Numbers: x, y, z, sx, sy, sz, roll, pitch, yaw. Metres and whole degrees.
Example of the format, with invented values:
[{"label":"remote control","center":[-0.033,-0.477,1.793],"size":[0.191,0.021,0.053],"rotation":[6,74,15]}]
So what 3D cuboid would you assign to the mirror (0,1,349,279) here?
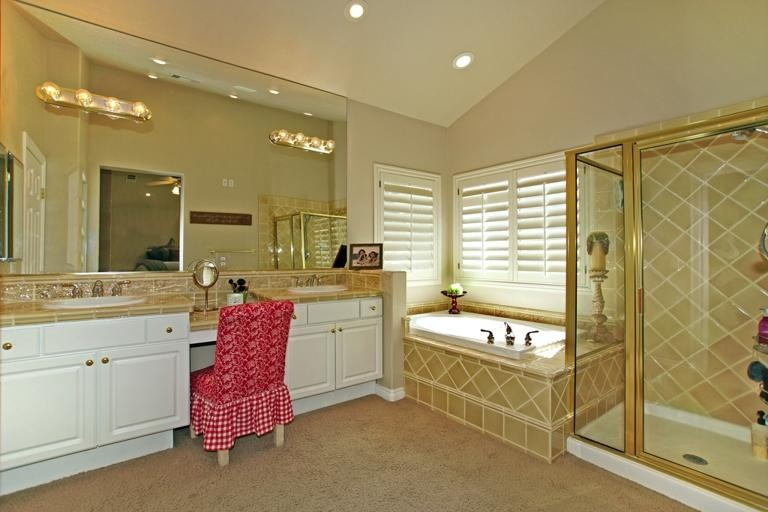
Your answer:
[{"label":"mirror","center":[-1.998,-1.088,4.567],"size":[2.484,1.677,0.037],"rotation":[0,-2,-35]}]

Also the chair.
[{"label":"chair","center":[-1.185,1.033,4.223],"size":[0.838,1.305,0.382],"rotation":[-3,3,-18]}]

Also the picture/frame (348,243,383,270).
[{"label":"picture/frame","center":[-0.219,0.003,5.591],"size":[0.299,0.228,0.022],"rotation":[0,1,-26]}]
